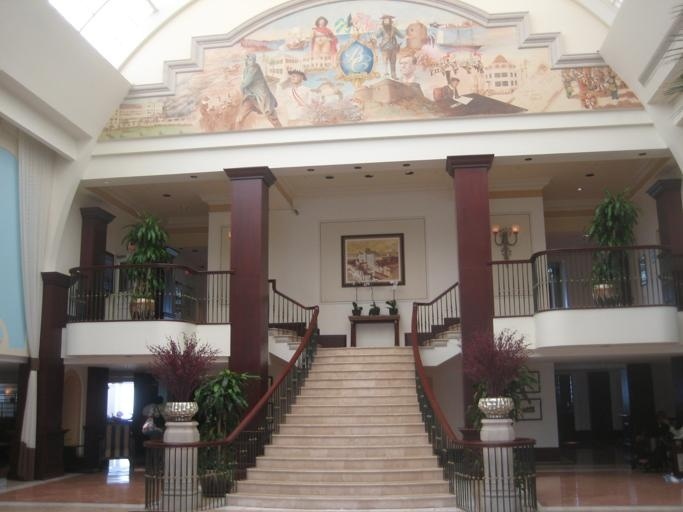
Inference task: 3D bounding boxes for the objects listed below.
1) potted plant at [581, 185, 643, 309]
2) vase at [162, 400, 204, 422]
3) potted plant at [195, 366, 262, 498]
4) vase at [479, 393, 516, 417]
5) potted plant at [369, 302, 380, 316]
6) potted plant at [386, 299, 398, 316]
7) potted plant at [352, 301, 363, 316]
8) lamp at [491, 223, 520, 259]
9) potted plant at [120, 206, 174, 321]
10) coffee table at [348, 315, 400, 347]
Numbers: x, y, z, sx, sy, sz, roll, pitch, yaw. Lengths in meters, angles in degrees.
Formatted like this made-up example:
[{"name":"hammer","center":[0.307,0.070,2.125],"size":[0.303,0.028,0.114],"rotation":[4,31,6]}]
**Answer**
[{"name":"potted plant","center":[5.486,-0.109,11.205],"size":[0.960,2.357,1.416],"rotation":[-9,-16,29]},{"name":"vase","center":[-2.643,2.566,9.185],"size":[0.490,0.335,0.406],"rotation":[0,-14,-6]},{"name":"potted plant","center":[-2.161,3.147,10.149],"size":[1.076,2.155,1.821],"rotation":[1,-14,-8]},{"name":"vase","center":[2.434,2.363,8.777],"size":[0.447,0.274,0.469],"rotation":[1,-6,14]},{"name":"potted plant","center":[0.873,1.418,14.887],"size":[0.273,0.472,0.677],"rotation":[-2,-15,4]},{"name":"potted plant","center":[1.299,1.400,14.858],"size":[0.318,0.428,0.291],"rotation":[-6,-12,40]},{"name":"potted plant","center":[0.368,1.421,14.971],"size":[0.284,0.414,0.292],"rotation":[-13,-17,42]},{"name":"lamp","center":[4.264,-0.401,14.399],"size":[0.789,1.251,0.397],"rotation":[0,-15,3]},{"name":"potted plant","center":[-4.318,0.230,12.385],"size":[1.029,2.566,1.600],"rotation":[4,-15,-20]},{"name":"coffee table","center":[0.836,2.217,14.668],"size":[1.278,0.915,0.818],"rotation":[-1,-16,4]}]
